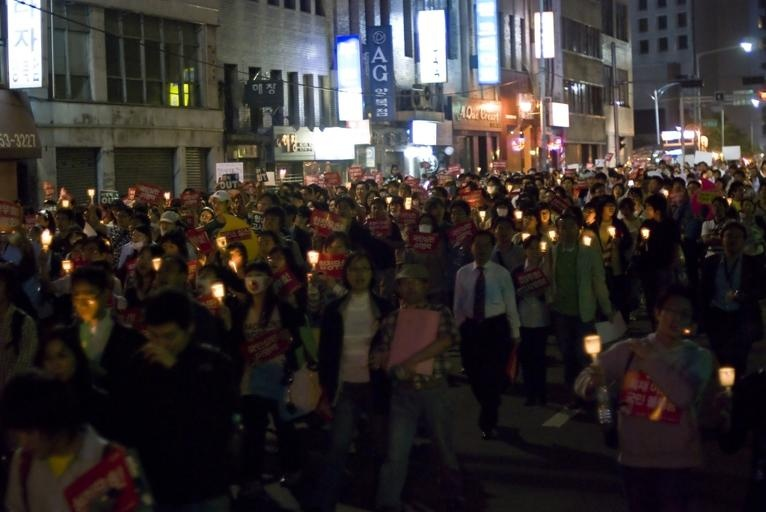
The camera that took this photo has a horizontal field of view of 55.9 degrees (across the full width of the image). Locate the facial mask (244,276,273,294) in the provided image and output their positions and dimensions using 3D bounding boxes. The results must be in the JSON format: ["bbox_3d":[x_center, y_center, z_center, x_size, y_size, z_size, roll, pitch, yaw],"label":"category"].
[{"bbox_3d":[-1.209,0.262,6.967,0.178,0.147,0.180,2,1,3],"label":"facial mask"}]

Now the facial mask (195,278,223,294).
[{"bbox_3d":[-1.813,0.296,7.398,0.257,0.161,0.258,0,-2,1],"label":"facial mask"}]

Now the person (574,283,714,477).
[{"bbox_3d":[1.911,0.863,5.138,0.776,1.189,0.418,1,7,21],"label":"person"}]

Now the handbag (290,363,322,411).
[{"bbox_3d":[-0.773,1.244,7.034,0.360,0.401,0.298,-4,5,-11],"label":"handbag"}]

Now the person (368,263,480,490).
[{"bbox_3d":[0.277,1.108,6.340,0.834,2.035,0.525,-5,7,-20],"label":"person"}]

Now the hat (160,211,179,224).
[{"bbox_3d":[-3.236,-0.589,10.985,0.210,0.152,0.292,2,-6,3],"label":"hat"}]

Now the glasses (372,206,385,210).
[{"bbox_3d":[-0.072,-0.809,12.167,0.190,0.044,0.060,-2,7,-1],"label":"glasses"}]

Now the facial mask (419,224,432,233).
[{"bbox_3d":[0.611,-0.400,10.417,0.133,0.095,0.131,0,-2,1],"label":"facial mask"}]

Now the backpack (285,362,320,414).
[{"bbox_3d":[-0.753,1.272,6.921,0.314,0.437,0.116,4,1,15],"label":"backpack"}]

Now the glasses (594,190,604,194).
[{"bbox_3d":[5.226,-1.542,17.420,0.117,0.082,0.130,4,10,34],"label":"glasses"}]
